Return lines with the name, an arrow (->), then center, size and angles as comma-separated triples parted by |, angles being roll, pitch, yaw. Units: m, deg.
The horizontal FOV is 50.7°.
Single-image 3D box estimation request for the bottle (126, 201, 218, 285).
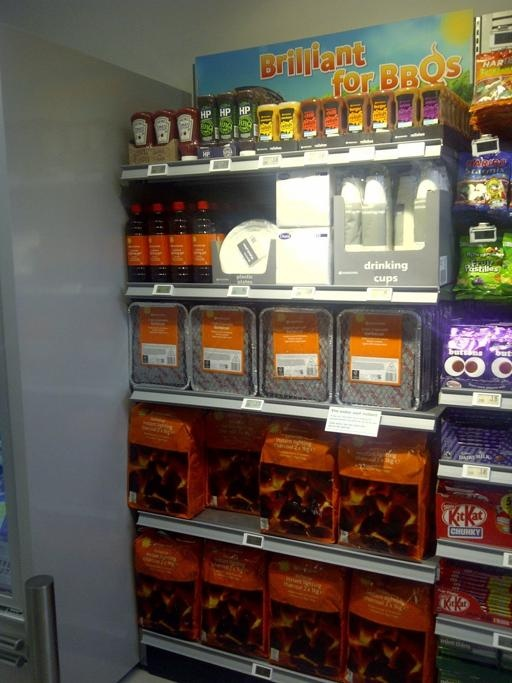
bottle -> -0.321, -0.376, 2.091 | 0.301, 0.255, 0.114 | 8, 17, 26
